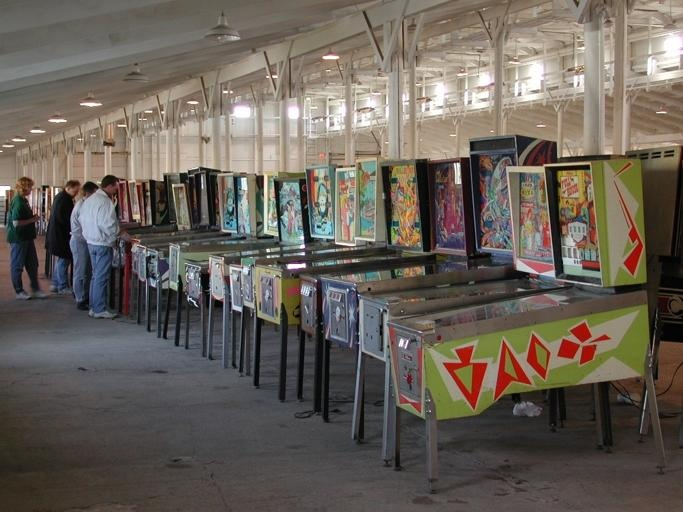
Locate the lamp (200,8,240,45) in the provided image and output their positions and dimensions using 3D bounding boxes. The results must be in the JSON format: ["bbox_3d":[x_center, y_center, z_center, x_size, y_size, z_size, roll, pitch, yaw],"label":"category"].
[{"bbox_3d":[-1.871,-3.598,9.590,0.471,0.562,0.983,-1,6,-12],"label":"lamp"}]

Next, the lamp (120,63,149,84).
[{"bbox_3d":[-4.144,-3.599,12.529,0.490,0.460,0.483,-1,4,-41],"label":"lamp"}]

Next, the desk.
[{"bbox_3d":[0.578,0.676,4.819,1.567,1.276,3.253,-4,7,-35],"label":"desk"}]
